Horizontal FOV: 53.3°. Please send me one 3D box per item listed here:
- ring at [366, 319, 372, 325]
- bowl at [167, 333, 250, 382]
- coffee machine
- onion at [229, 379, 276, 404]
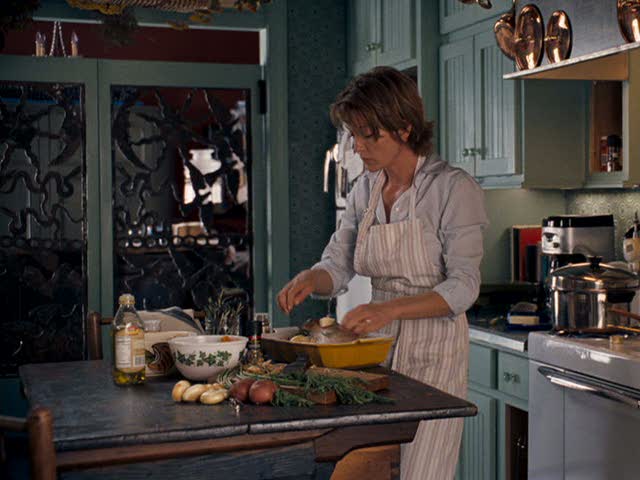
[{"bbox_3d":[0.133,0.228,1.777,0.011,0.013,0.003,13,-23,11],"label":"ring"},{"bbox_3d":[-0.320,0.339,1.815,0.224,0.116,0.231,0,-4,0],"label":"bowl"},{"bbox_3d":[1.236,0.075,3.033,0.292,0.459,0.258,-12,17,-20],"label":"coffee machine"},{"bbox_3d":[-0.163,0.367,1.548,0.068,0.030,0.067,-1,2,-34],"label":"onion"}]
